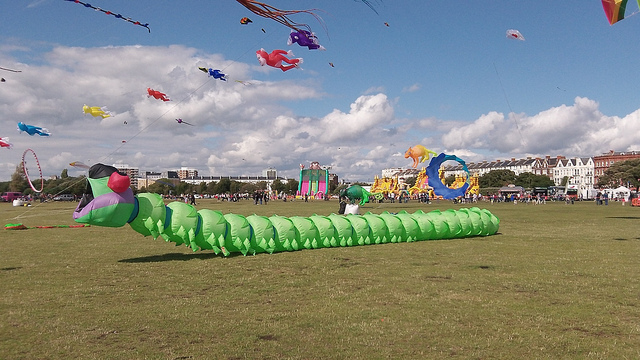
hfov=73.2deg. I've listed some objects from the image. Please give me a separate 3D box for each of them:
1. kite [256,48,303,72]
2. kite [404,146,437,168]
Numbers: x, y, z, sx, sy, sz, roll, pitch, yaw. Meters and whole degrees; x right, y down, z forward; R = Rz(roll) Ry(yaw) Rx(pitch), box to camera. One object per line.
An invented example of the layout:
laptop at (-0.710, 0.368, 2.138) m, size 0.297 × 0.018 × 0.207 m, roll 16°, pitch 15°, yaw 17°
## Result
kite at (-1.908, -5.781, 20.715) m, size 1.848 × 1.088 × 1.669 m, roll 0°, pitch -1°, yaw -19°
kite at (14.519, -3.673, 62.215) m, size 6.045 × 2.876 × 1.442 m, roll -9°, pitch 7°, yaw -24°
